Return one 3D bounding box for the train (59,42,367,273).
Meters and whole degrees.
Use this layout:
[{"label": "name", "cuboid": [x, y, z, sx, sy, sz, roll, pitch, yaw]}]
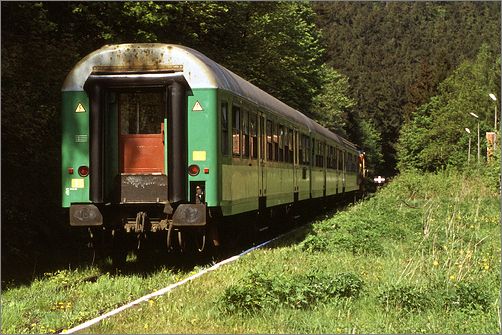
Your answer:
[{"label": "train", "cuboid": [-0.667, -0.245, 13.875, 2.843, 4.828, 9.326, -2, -1, 24]}]
